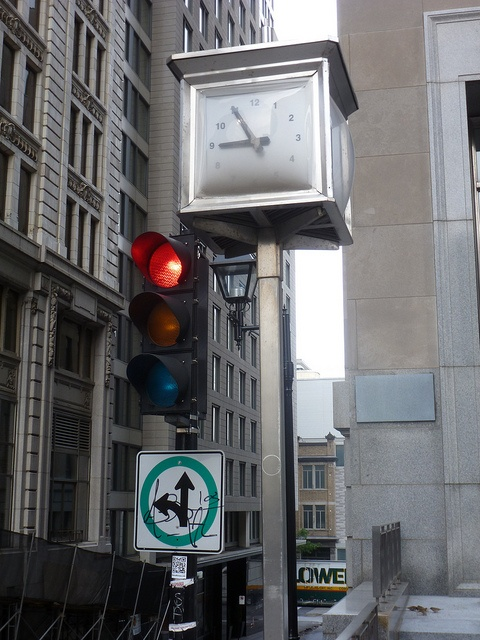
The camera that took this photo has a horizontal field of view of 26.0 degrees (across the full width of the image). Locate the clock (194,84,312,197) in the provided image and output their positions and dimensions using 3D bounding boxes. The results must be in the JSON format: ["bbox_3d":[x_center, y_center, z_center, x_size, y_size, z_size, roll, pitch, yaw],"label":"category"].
[{"bbox_3d":[0.134,-1.414,8.343,0.755,0.792,0.098,-5,-15,25],"label":"clock"}]
